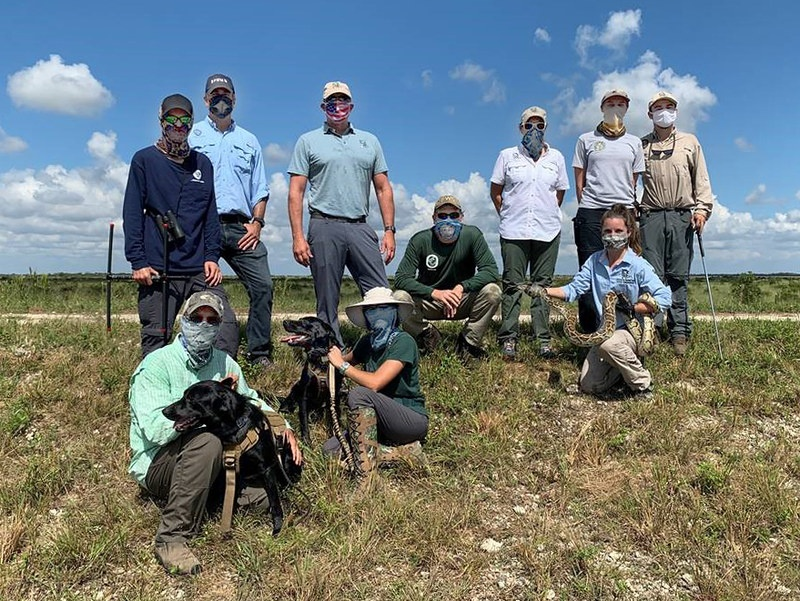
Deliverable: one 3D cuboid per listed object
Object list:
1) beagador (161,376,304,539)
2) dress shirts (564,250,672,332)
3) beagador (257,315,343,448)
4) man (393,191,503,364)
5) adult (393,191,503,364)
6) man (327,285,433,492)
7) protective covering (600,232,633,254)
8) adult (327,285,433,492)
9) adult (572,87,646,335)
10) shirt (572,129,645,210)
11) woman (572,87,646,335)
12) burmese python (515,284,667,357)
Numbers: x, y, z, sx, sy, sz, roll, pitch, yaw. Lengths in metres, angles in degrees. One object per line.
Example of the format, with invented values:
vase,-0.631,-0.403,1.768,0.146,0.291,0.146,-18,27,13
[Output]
beagador,-1.556,1.588,6.285,0.692,1.262,2.082,2,-17,36
dress shirts,2.953,-0.123,8.341,0.571,0.805,0.926,-7,12,-40
beagador,-1.013,1.002,7.639,0.670,1.416,2.222,1,-7,-2
man,0.682,-0.310,8.910,1.347,2.378,1.227,0,-3,12
adult,0.656,-0.300,8.917,1.410,2.359,1.251,-1,-4,10
man,-0.230,0.873,6.927,1.050,1.957,0.840,-3,5,-20
protective covering,2.850,-0.755,8.188,0.371,0.198,0.248,0,5,5
adult,-0.227,0.873,6.929,1.048,1.957,0.840,-3,5,-20
adult,3.095,-1.261,9.245,0.928,3.776,0.909,0,-8,24
shirt,3.165,-1.942,9.432,0.997,1.401,0.625,4,-4,14
woman,3.035,-1.213,9.167,1.044,4.168,1.024,0,-13,22
burmese python,2.551,0.216,8.118,1.410,0.948,0.346,23,-12,29
